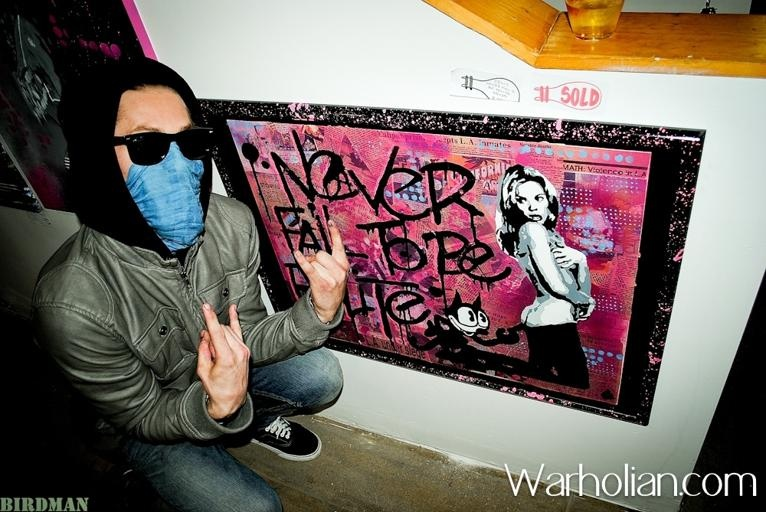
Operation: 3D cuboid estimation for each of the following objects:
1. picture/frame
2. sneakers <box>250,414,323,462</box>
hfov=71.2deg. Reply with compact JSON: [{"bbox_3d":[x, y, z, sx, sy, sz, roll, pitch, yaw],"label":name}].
[{"bbox_3d":[0.228,-0.009,1.763,1.320,0.841,0.031,8,30,21],"label":"picture/frame"},{"bbox_3d":[-0.391,0.784,2.255,0.349,0.130,0.143,11,39,13],"label":"sneakers"}]
